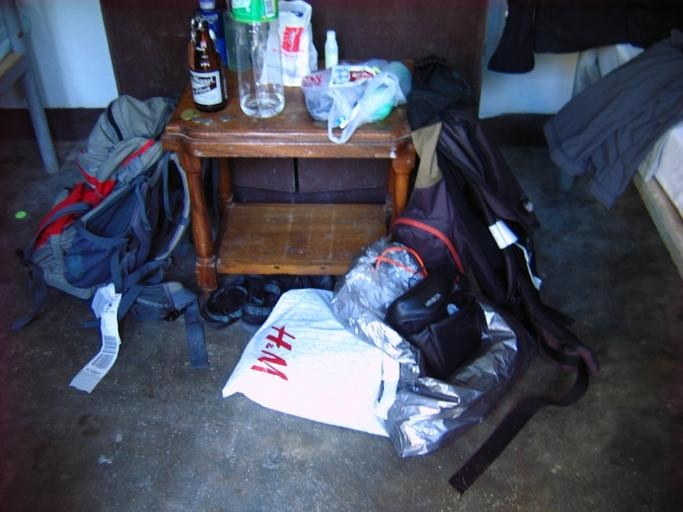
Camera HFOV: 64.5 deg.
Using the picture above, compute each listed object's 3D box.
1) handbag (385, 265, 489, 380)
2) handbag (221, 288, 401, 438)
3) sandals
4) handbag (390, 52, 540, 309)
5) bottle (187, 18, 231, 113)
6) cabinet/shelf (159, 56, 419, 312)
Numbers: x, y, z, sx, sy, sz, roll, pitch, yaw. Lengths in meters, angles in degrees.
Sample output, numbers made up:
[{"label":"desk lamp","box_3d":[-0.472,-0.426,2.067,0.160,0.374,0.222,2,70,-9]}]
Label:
[{"label":"handbag","box_3d":[0.314,0.241,1.875,0.248,0.232,0.129,-40,30,-13]},{"label":"handbag","box_3d":[-0.088,0.380,1.880,0.414,0.137,0.466,13,50,11]},{"label":"sandals","box_3d":[-0.396,0.169,2.206,0.220,0.098,0.307,32,50,28]},{"label":"handbag","box_3d":[0.487,-0.233,2.007,0.608,0.730,0.513,14,39,17]},{"label":"bottle","box_3d":[-0.484,-0.694,1.916,0.134,0.298,0.215,-8,38,-11]},{"label":"cabinet/shelf","box_3d":[-0.176,-0.314,2.258,0.908,0.878,0.628,0,47,-1]}]
